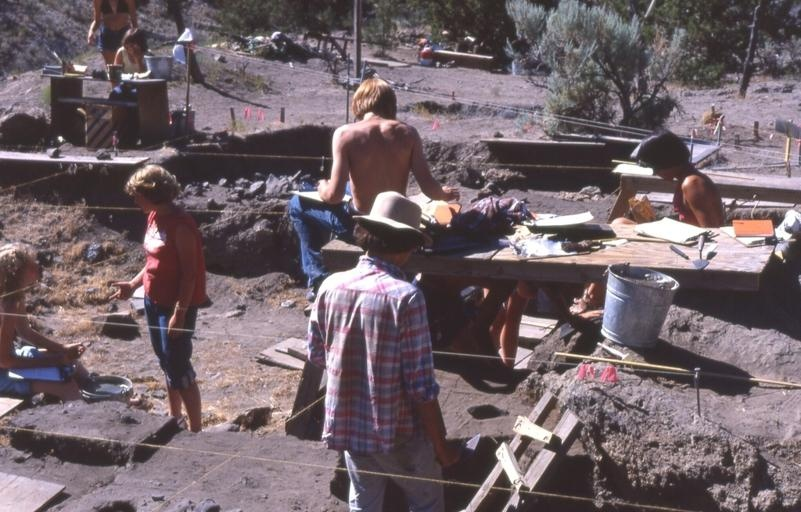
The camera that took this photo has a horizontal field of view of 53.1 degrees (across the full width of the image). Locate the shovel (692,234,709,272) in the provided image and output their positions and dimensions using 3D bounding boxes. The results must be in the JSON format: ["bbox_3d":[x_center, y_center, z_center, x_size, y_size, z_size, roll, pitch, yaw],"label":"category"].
[{"bbox_3d":[3.169,-0.064,8.392,0.154,0.267,0.581,11,19,20],"label":"shovel"}]

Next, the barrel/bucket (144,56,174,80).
[{"bbox_3d":[-4.889,-3.867,16.416,0.548,0.383,0.505,-1,9,0],"label":"barrel/bucket"}]

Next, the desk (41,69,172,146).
[{"bbox_3d":[-5.967,-2.967,16.481,2.147,1.559,1.129,3,9,12],"label":"desk"}]

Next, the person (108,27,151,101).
[{"bbox_3d":[-5.350,-3.797,15.905,0.792,1.377,0.928,-2,19,-19],"label":"person"}]

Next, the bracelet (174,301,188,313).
[{"bbox_3d":[-2.433,0.581,8.939,0.095,0.069,0.113,9,-1,10],"label":"bracelet"}]

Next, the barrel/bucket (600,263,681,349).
[{"bbox_3d":[2.358,0.473,8.296,0.769,0.724,0.805,14,13,-3],"label":"barrel/bucket"}]

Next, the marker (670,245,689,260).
[{"bbox_3d":[2.927,-0.039,8.451,0.077,0.064,0.274,40,7,-44],"label":"marker"}]
